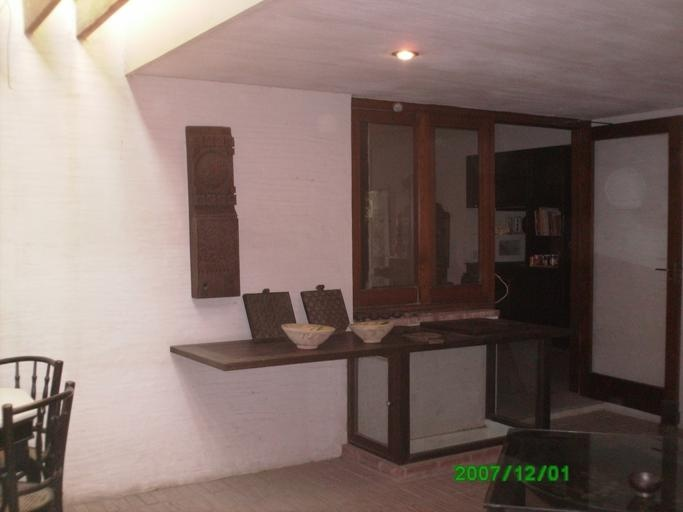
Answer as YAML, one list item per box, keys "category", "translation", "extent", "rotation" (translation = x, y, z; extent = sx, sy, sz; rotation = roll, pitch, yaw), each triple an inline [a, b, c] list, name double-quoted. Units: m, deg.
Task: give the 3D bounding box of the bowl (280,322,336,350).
- category: "bowl"
  translation: [-0.242, 0.535, 3.670]
  extent: [0.329, 0.140, 0.457]
  rotation: [0, 3, -5]

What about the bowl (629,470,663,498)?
- category: "bowl"
  translation: [1.202, 0.898, 2.118]
  extent: [0.099, 0.050, 0.101]
  rotation: [0, -5, 0]

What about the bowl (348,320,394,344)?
- category: "bowl"
  translation: [0.229, 0.531, 3.801]
  extent: [0.275, 0.135, 0.269]
  rotation: [0, 3, 0]

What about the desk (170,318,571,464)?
- category: "desk"
  translation: [0.450, 1.100, 4.019]
  extent: [2.588, 0.848, 0.727]
  rotation: [-5, -12, 2]
